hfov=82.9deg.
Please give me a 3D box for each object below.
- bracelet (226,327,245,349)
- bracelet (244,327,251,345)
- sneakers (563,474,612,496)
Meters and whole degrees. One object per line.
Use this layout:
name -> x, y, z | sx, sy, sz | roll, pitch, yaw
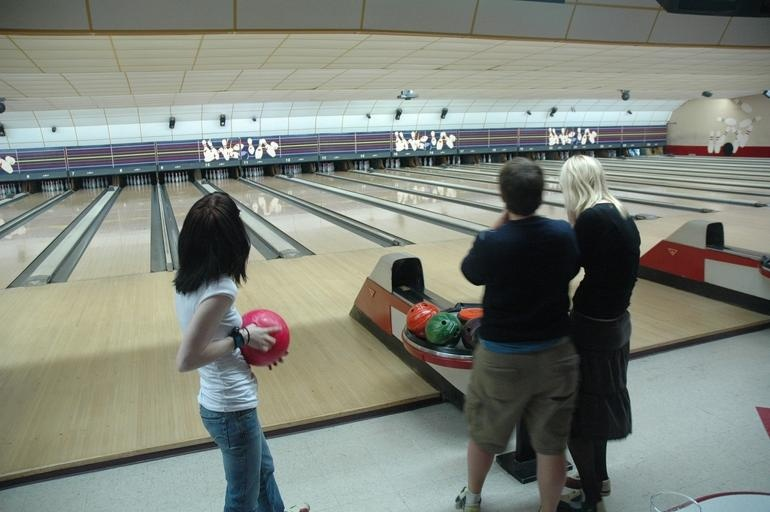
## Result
bracelet -> -0.537, 0.295, 1.580 | 0.047, 0.063, 0.048 | -12, 17, -22
bracelet -> -0.504, 0.292, 1.595 | 0.013, 0.045, 0.049 | -2, -18, -16
sneakers -> 0.953, 1.080, 2.103 | 0.276, 0.098, 0.090 | 2, -1, -1
